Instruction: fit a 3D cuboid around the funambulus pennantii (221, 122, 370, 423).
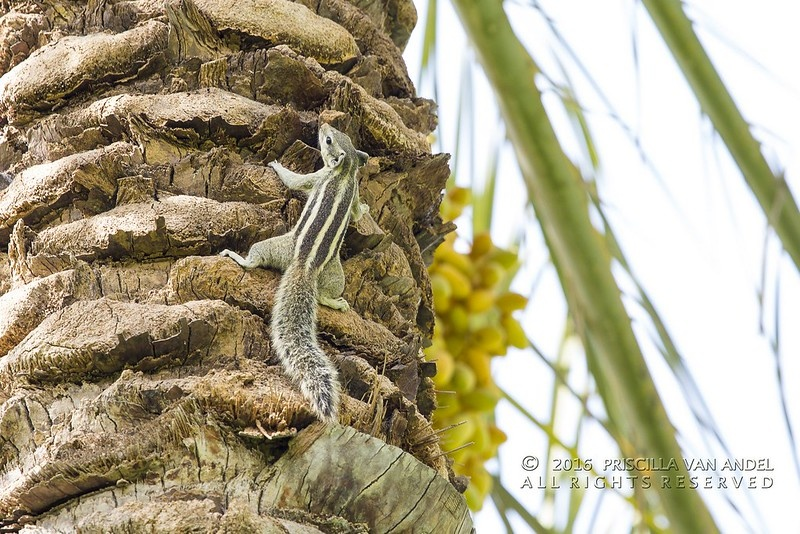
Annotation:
[{"bbox_3d":[-0.460,0.098,11.569,0.586,1.838,0.651,-8,-34,14],"label":"funambulus pennantii"}]
